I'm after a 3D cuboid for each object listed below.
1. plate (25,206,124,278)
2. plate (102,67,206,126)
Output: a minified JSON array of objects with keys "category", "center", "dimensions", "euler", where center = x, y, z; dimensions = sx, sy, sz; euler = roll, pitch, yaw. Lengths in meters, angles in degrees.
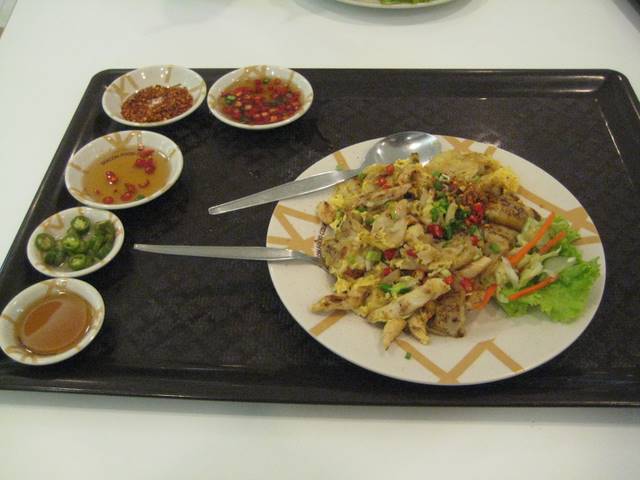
[{"category":"plate","center":[-1.955,0.013,4.262],"dimensions":[0.713,0.158,0.620],"euler":[-32,71,-11]},{"category":"plate","center":[-1.679,-1.454,5.303],"dimensions":[0.873,0.193,0.829],"euler":[-26,57,-26]}]
